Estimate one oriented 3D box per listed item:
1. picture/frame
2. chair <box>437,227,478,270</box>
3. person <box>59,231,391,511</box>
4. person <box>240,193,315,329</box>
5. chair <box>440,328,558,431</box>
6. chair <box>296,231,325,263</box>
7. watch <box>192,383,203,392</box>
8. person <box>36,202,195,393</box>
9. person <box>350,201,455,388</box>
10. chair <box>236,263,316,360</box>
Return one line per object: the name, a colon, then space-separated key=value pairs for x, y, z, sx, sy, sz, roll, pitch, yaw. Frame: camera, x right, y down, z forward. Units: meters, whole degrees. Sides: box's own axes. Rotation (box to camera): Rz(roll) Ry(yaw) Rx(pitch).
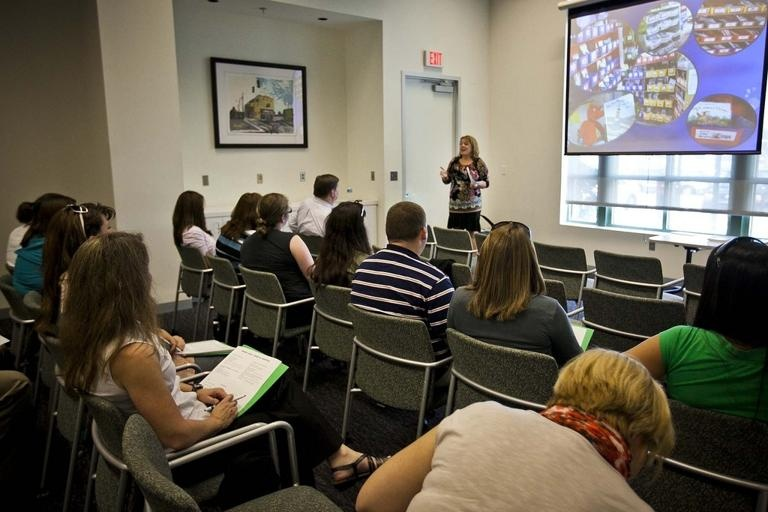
picture/frame: x=-1.807 y=-2.151 z=7.120 sx=1.324 sy=1.164 sz=0.055 roll=-5 pitch=8 yaw=-38
chair: x=0.749 y=-0.113 z=5.610 sx=0.395 sy=0.535 sz=0.453 roll=8 pitch=14 yaw=43
person: x=-0.870 y=0.397 z=2.793 sx=1.497 sy=1.629 sz=0.806 roll=-11 pitch=13 yaw=-41
person: x=-0.851 y=0.109 z=4.224 sx=0.535 sy=1.292 sz=0.673 roll=11 pitch=21 yaw=17
chair: x=0.618 y=0.555 z=2.526 sx=0.346 sy=0.605 sz=0.425 roll=7 pitch=11 yaw=38
chair: x=-0.629 y=-0.064 z=4.299 sx=0.198 sy=0.361 sz=0.236 roll=11 pitch=18 yaw=40
watch: x=-0.957 y=0.673 z=2.588 sx=0.035 sy=0.026 sz=0.035 roll=-2 pitch=-27 yaw=-11
person: x=-1.716 y=0.156 z=3.319 sx=0.920 sy=1.556 sz=0.872 roll=-1 pitch=4 yaw=-40
person: x=0.147 y=0.376 z=3.295 sx=0.659 sy=1.405 sz=0.747 roll=3 pitch=11 yaw=22
chair: x=-0.870 y=0.363 z=4.094 sx=0.599 sy=0.924 sz=0.656 roll=7 pitch=10 yaw=43
